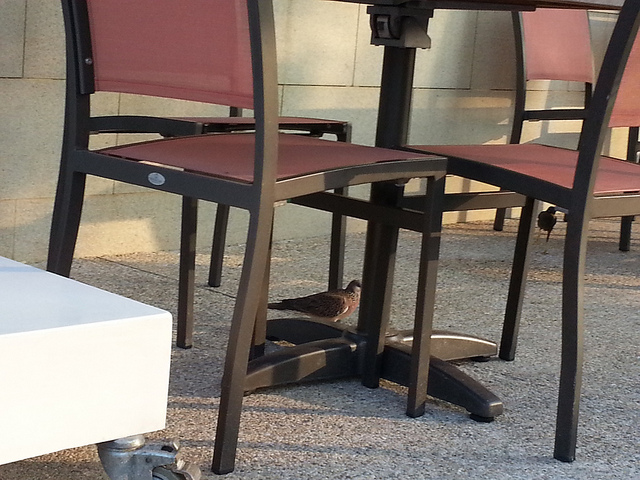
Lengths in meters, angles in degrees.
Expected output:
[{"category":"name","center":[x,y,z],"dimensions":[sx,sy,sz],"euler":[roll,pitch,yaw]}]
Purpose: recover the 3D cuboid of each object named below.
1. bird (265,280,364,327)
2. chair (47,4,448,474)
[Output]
[{"category":"bird","center":[-0.011,0.200,2.086],"dimensions":[0.354,0.134,0.095],"euler":[4,20,7]},{"category":"chair","center":[-0.183,-0.032,1.627],"dimensions":[0.619,1.004,0.713],"euler":[17,19,42]}]
